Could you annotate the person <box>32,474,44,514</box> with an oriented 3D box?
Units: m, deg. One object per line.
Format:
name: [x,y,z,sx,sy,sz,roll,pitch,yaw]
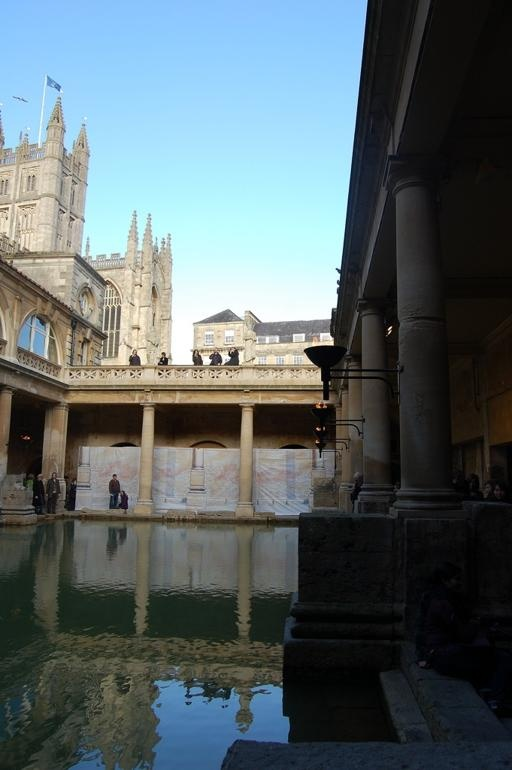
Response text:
person: [-8.849,4.459,22.626,0.479,1.533,1.068,3,-10,-21]

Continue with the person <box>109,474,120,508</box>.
person: [-6.171,4.655,24.252,0.487,1.454,0.728,2,-10,-15]

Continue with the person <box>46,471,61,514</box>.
person: [-8.678,4.637,23.798,0.513,1.645,1.215,3,-10,-21]
